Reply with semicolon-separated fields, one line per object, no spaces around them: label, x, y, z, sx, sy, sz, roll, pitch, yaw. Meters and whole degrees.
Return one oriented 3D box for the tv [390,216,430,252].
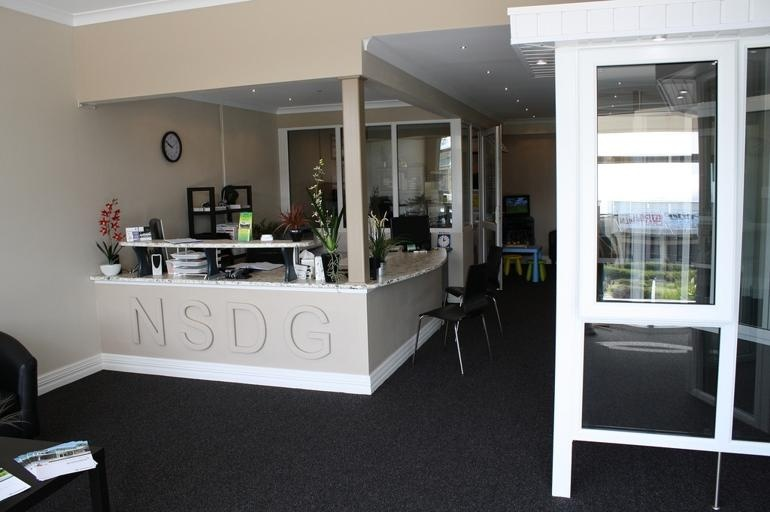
tv;0.355;-0.342;8.207;0.514;0.383;0.169;-1;7;-16

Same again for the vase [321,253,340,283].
vase;-0.576;0.113;5.702;0.187;0.292;0.136;-4;8;-11

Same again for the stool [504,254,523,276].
stool;2.627;0.174;11.240;0.443;0.479;0.444;0;0;14

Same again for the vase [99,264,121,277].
vase;-3.157;0.160;6.226;0.159;0.108;0.161;-1;-4;-6

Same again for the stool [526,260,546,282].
stool;2.932;0.278;10.685;0.412;0.430;0.421;0;7;24

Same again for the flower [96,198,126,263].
flower;-3.206;-0.303;6.323;0.322;0.735;0.201;-10;11;-41

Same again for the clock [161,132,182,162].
clock;-2.806;-1.416;7.078;0.058;0.397;0.409;-1;-5;16

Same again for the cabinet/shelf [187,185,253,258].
cabinet/shelf;-2.234;-0.449;7.189;0.333;0.958;0.978;1;6;9

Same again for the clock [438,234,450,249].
clock;0.950;-0.257;8.702;0.203;0.195;0.219;-11;12;-43

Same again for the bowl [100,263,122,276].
bowl;-3.163;0.129;6.255;0.164;0.106;0.163;-1;7;0
